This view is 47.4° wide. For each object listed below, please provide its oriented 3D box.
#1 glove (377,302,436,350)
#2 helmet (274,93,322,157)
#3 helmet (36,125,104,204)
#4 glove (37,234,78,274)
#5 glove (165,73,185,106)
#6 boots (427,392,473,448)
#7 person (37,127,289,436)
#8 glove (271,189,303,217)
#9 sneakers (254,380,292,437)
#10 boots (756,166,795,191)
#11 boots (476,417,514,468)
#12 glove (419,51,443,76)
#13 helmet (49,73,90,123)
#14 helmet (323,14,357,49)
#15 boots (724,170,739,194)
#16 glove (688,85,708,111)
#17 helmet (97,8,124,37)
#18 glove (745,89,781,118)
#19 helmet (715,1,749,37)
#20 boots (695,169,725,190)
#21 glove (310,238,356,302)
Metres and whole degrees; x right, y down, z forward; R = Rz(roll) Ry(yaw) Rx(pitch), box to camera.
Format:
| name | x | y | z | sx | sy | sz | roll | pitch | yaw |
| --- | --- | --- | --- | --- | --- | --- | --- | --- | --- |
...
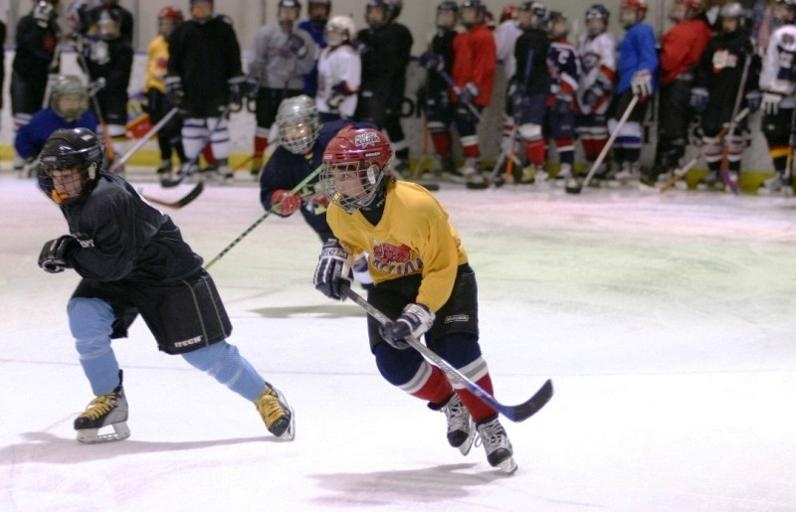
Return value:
| name | x | y | z | sx | sy | sz | roll | pitch | yaw |
| --- | --- | --- | --- | --- | --- | --- | --- | --- | --- |
| glove | 0.044 | 0.283 | 3.719 | 0.160 | 0.221 | 0.092 | 40 | -19 | 21 |
| helmet | -0.558 | -0.745 | 5.155 | 0.289 | 0.286 | 0.333 | -5 | 13 | 5 |
| helmet | -1.375 | -0.376 | 3.817 | 0.254 | 0.319 | 0.180 | 1 | 14 | -19 |
| glove | -1.434 | -0.004 | 3.841 | 0.149 | 0.169 | 0.109 | 1 | 13 | -19 |
| glove | -2.239 | -1.675 | 9.118 | 0.191 | 0.266 | 0.116 | -5 | 31 | 8 |
| boots | 0.238 | 0.725 | 3.828 | 0.150 | 0.104 | 0.298 | 28 | 32 | -29 |
| person | -1.024 | 0.148 | 3.901 | 1.025 | 1.329 | 0.299 | 4 | 14 | -5 |
| glove | -0.653 | -0.291 | 5.376 | 0.155 | 0.156 | 0.167 | 5 | 52 | 0 |
| sneakers | -0.549 | 0.673 | 4.012 | 0.123 | 0.103 | 0.278 | 37 | 10 | -45 |
| boots | 3.633 | -0.725 | 8.710 | 0.272 | 0.270 | 0.169 | 10 | 13 | 21 |
| boots | 0.407 | 0.779 | 3.712 | 0.097 | 0.108 | 0.246 | -29 | 40 | 11 |
| glove | 0.343 | -1.996 | 9.322 | 0.273 | 0.166 | 0.237 | 4 | -31 | -8 |
| helmet | -2.335 | -1.113 | 6.451 | 0.235 | 0.308 | 0.487 | 1 | 12 | -20 |
| helmet | -0.558 | -2.210 | 8.926 | 0.300 | 0.295 | 0.275 | 4 | 12 | -6 |
| boots | 3.302 | -0.736 | 8.961 | 0.184 | 0.202 | 0.100 | -11 | -3 | 33 |
| glove | 2.951 | -1.550 | 8.905 | 0.138 | 0.210 | 0.190 | 3 | 9 | -39 |
| helmet | -2.962 | -2.409 | 9.344 | 0.254 | 0.269 | 0.297 | -1 | 11 | -8 |
| glove | 3.467 | -1.442 | 8.596 | 0.260 | 0.140 | 0.245 | 2 | -5 | 24 |
| helmet | 3.264 | -2.327 | 8.846 | 0.282 | 0.317 | 0.453 | 9 | 12 | 16 |
| boots | 3.188 | -0.768 | 9.227 | 0.283 | 0.157 | 0.169 | -8 | 15 | -16 |
| glove | -0.273 | 0.068 | 3.947 | 0.204 | 0.220 | 0.115 | 0 | -2 | -7 |
